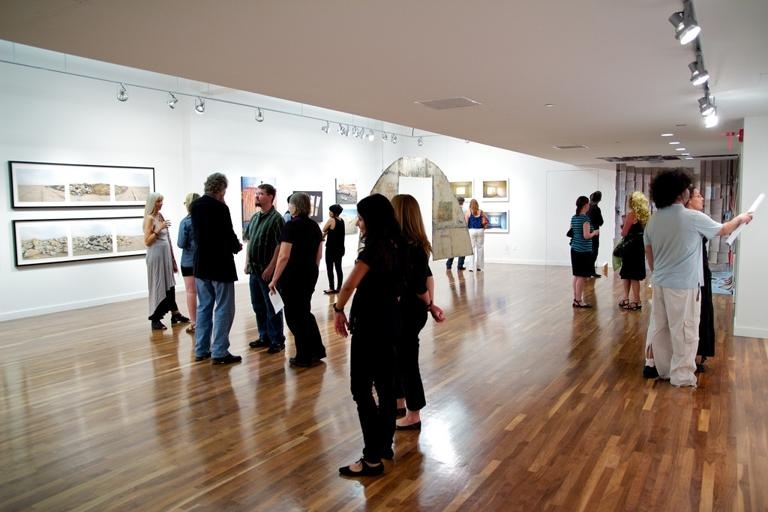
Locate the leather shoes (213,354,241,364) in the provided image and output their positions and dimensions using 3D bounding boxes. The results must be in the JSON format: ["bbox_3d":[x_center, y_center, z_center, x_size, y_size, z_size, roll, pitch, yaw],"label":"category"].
[{"bbox_3d":[-1.977,1.318,6.080,0.345,0.152,0.126,-2,2,-14],"label":"leather shoes"}]

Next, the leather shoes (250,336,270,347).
[{"bbox_3d":[-1.707,1.205,6.725,0.325,0.144,0.120,5,1,-8],"label":"leather shoes"}]

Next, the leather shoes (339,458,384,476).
[{"bbox_3d":[-0.174,1.762,4.034,0.388,0.161,0.141,3,-3,0],"label":"leather shoes"}]

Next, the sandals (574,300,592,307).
[{"bbox_3d":[3.651,0.864,8.727,0.320,0.129,0.122,-1,4,20],"label":"sandals"}]

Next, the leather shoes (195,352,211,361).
[{"bbox_3d":[-2.346,1.312,6.275,0.210,0.100,0.076,-7,9,-38],"label":"leather shoes"}]

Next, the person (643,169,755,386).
[{"bbox_3d":[3.329,0.231,5.360,0.829,2.354,0.557,6,12,35],"label":"person"}]

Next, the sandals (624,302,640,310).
[{"bbox_3d":[4.389,0.888,8.481,0.137,0.105,0.256,-1,5,-42],"label":"sandals"}]

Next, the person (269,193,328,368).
[{"bbox_3d":[-1.052,0.311,5.819,0.612,2.106,0.289,-2,10,-8],"label":"person"}]

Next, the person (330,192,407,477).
[{"bbox_3d":[-0.105,0.645,3.973,0.613,2.277,0.452,-3,10,-10],"label":"person"}]

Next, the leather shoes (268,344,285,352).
[{"bbox_3d":[-1.439,1.236,6.434,0.094,0.082,0.205,-5,-14,16],"label":"leather shoes"}]

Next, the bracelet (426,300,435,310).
[{"bbox_3d":[0.431,0.454,4.439,0.060,0.083,0.022,26,47,3],"label":"bracelet"}]

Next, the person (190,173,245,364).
[{"bbox_3d":[-2.112,0.159,6.101,0.682,2.361,0.485,4,11,26],"label":"person"}]

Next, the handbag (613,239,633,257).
[{"bbox_3d":[4.142,-0.144,8.265,0.095,0.278,0.198,24,0,10],"label":"handbag"}]

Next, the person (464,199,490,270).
[{"bbox_3d":[2.610,-0.584,13.458,0.543,1.951,1.251,1,10,9],"label":"person"}]

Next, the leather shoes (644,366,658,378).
[{"bbox_3d":[3.093,1.339,5.554,0.137,0.136,0.110,1,-7,21],"label":"leather shoes"}]
